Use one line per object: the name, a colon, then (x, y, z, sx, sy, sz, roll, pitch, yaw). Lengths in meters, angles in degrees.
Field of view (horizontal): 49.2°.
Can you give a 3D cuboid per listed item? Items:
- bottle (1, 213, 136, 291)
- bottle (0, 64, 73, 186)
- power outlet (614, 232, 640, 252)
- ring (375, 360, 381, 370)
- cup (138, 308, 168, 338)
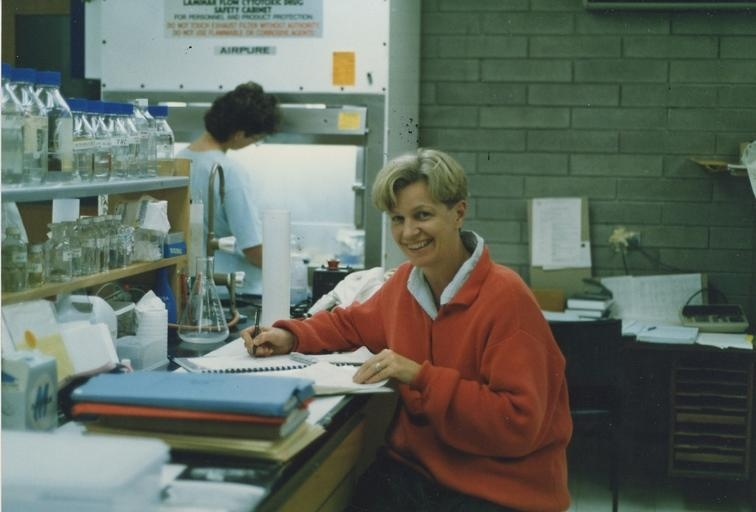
bottle: (-1.040, -0.018, 2.762, 0.112, 0.202, 0.572, 1, 7, 21)
bottle: (-1.059, -0.393, 2.544, 0.134, 0.344, 0.443, -1, 7, -1)
power outlet: (1.433, -0.097, 4.755, 0.124, 0.134, 0.052, -38, 28, -5)
ring: (0.001, 0.345, 2.573, 0.018, 0.030, 0.017, 1, 4, 0)
cup: (-0.787, 0.232, 2.872, 0.095, 0.101, 0.097, -1, -1, 0)
